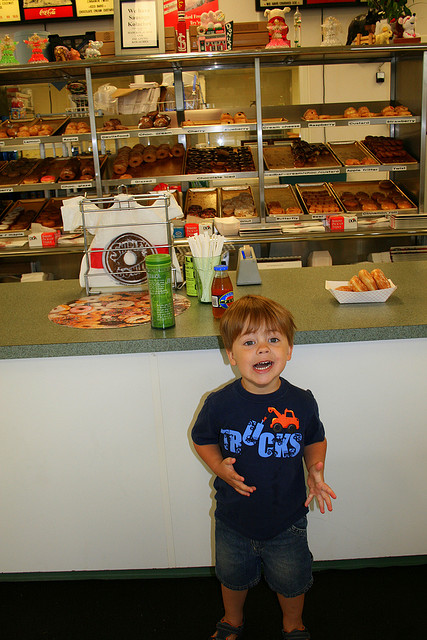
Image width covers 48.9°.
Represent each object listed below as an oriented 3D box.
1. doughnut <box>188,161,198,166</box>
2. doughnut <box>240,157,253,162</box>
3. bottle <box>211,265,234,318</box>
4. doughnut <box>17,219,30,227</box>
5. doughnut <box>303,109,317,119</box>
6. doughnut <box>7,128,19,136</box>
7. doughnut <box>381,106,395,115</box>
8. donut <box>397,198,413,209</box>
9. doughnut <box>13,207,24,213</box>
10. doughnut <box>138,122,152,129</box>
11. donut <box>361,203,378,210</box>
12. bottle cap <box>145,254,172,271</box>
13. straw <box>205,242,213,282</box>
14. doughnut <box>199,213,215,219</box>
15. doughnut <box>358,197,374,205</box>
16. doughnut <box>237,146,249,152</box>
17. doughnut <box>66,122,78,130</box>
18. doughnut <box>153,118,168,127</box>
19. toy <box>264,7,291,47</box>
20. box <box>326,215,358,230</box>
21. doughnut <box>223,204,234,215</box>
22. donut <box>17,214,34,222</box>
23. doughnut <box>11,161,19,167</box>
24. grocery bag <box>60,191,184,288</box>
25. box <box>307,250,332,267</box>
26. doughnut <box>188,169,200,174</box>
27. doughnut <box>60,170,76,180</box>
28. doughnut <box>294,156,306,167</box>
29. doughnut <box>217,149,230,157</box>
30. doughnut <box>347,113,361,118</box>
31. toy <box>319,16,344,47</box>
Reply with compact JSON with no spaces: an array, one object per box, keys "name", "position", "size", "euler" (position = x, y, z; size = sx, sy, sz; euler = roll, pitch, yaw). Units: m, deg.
[{"name":"doughnut","position":[-0.166,-1.250,3.785],"size":[0.074,0.027,0.082],"euler":[-6,21,-4]},{"name":"doughnut","position":[0.268,-1.290,3.816],"size":[0.102,0.032,0.108],"euler":[-3,21,4]},{"name":"bottle","position":[0.024,-0.084,1.340],"size":[0.058,0.148,0.060],"euler":[-2,25,1]},{"name":"doughnut","position":[-1.527,-0.780,3.781],"size":[0.078,0.020,0.081],"euler":[10,11,33]},{"name":"doughnut","position":[0.791,-1.672,3.811],"size":[0.102,0.026,0.113],"euler":[-12,31,14]},{"name":"doughnut","position":[-1.612,-1.502,3.774],"size":[0.090,0.060,0.095],"euler":[-16,23,-27]},{"name":"doughnut","position":[1.389,-1.670,3.745],"size":[0.112,0.034,0.107],"euler":[-36,36,-18]},{"name":"donut","position":[1.505,-0.900,3.674],"size":[0.158,0.056,0.103],"euler":[-23,27,-39]},{"name":"doughnut","position":[-1.648,-0.916,3.960],"size":[0.071,0.022,0.051],"euler":[-4,10,-38]},{"name":"doughnut","position":[-0.526,-1.499,3.639],"size":[0.073,0.025,0.075],"euler":[-1,17,-6]},{"name":"donut","position":[1.223,-0.876,3.656],"size":[0.072,0.038,0.075],"euler":[-3,20,-9]},{"name":"bottle cap","position":[-0.144,-0.153,1.208],"size":[0.046,0.035,0.046],"euler":[-9,17,-27]},{"name":"straw","position":[-0.016,-0.173,1.447],"size":[0.013,0.141,0.010],"euler":[18,36,10]},{"name":"doughnut","position":[-0.048,-0.805,3.652],"size":[0.114,0.027,0.092],"euler":[-5,21,-1]},{"name":"doughnut","position":[1.233,-0.944,3.781],"size":[0.089,0.046,0.086],"euler":[-2,3,-39]},{"name":"doughnut","position":[0.246,-1.456,4.026],"size":[0.116,0.032,0.066],"euler":[-19,24,-32]},{"name":"doughnut","position":[-1.183,-1.608,3.922],"size":[0.094,0.049,0.092],"euler":[-14,24,-24]},{"name":"doughnut","position":[-0.411,-1.518,3.638],"size":[0.105,0.067,0.079],"euler":[-4,20,3]},{"name":"toy","position":[0.490,-2.231,3.593],"size":[0.167,0.293,0.313],"euler":[-2,20,7]},{"name":"box","position":[0.946,-0.703,3.415],"size":[0.254,0.112,0.077],"euler":[-10,20,-13]},{"name":"doughnut","position":[0.121,-0.869,3.738],"size":[0.096,0.057,0.103],"euler":[-14,22,-22]},{"name":"donut","position":[-1.551,-0.829,3.851],"size":[0.089,0.022,0.093],"euler":[7,23,12]},{"name":"doughnut","position":[-1.727,-1.342,4.077],"size":[0.067,0.022,0.075],"euler":[8,32,-1]},{"name":"grocery bag","position":[-0.310,-0.261,1.660],"size":[0.407,0.355,0.222],"euler":[-5,20,-2]},{"name":"box","position":[0.860,-0.465,3.730],"size":[0.175,0.125,0.274],"euler":[-5,20,1]},{"name":"doughnut","position":[-0.152,-1.150,3.661],"size":[0.090,0.029,0.082],"euler":[-6,21,-3]},{"name":"doughnut","position":[-1.157,-1.148,3.740],"size":[0.133,0.072,0.115],"euler":[-14,22,-23]},{"name":"doughnut","position":[0.687,-1.243,3.711],"size":[0.089,0.074,0.138],"euler":[-1,21,10]},{"name":"doughnut","position":[0.082,-1.399,3.959],"size":[0.094,0.055,0.172],"euler":[-5,21,1]},{"name":"doughnut","position":[1.105,-1.590,3.676],"size":[0.100,0.031,0.130],"euler":[2,22,18]},{"name":"toy","position":[0.890,-2.150,3.535],"size":[0.132,0.249,0.423],"euler":[0,21,14]}]
